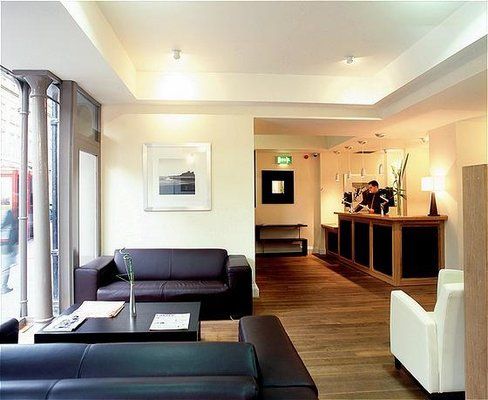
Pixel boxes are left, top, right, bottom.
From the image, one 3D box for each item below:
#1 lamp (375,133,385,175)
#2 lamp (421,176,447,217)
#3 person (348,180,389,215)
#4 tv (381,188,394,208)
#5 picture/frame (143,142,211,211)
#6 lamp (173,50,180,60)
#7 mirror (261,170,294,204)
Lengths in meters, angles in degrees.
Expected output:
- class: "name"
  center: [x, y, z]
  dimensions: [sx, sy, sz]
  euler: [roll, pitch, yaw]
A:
- class: "lamp"
  center: [2.928, -0.941, 8.052]
  dimensions: [0.166, 0.741, 2.890]
  euler: [0, 4, 21]
- class: "lamp"
  center: [3.158, -0.076, 6.276]
  dimensions: [0.324, 0.655, 0.306]
  euler: [-2, 4, -18]
- class: "person"
  center: [2.502, 0.030, 7.325]
  dimensions: [0.490, 0.772, 0.824]
  euler: [-10, 8, -35]
- class: "tv"
  center: [2.733, -0.052, 7.161]
  dimensions: [0.217, 0.395, 1.303]
  euler: [0, 4, 21]
- class: "picture/frame"
  center: [-0.999, -0.337, 5.272]
  dimensions: [0.934, 0.949, 0.036]
  euler: [-1, 3, -2]
- class: "lamp"
  center: [-0.820, -1.768, 4.549]
  dimensions: [0.075, 0.132, 0.073]
  euler: [-1, 2, -10]
- class: "mirror"
  center: [0.760, -0.329, 9.077]
  dimensions: [0.794, 0.810, 0.030]
  euler: [0, -1, -6]
